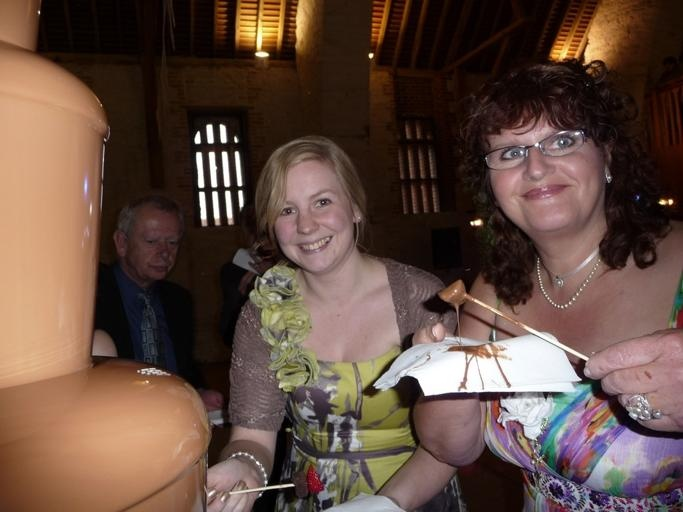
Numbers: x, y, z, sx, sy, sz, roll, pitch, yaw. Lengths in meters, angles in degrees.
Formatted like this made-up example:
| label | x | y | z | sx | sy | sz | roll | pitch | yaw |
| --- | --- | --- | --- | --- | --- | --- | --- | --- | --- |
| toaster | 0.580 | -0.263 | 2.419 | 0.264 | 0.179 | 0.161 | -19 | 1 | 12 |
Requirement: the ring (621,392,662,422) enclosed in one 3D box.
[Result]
| label | x | y | z | sx | sy | sz | roll | pitch | yaw |
| --- | --- | --- | --- | --- | --- | --- | --- | --- | --- |
| ring | 0.605 | 0.308 | 1.085 | 0.056 | 0.063 | 0.016 | -17 | 17 | 36 |

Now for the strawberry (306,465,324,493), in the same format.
| label | x | y | z | sx | sy | sz | roll | pitch | yaw |
| --- | --- | --- | --- | --- | --- | --- | --- | --- | --- |
| strawberry | -0.095 | 0.725 | 1.734 | 0.029 | 0.083 | 0.075 | -2 | 0 | -32 |

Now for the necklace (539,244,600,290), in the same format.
| label | x | y | z | sx | sy | sz | roll | pitch | yaw |
| --- | --- | --- | --- | --- | --- | --- | --- | --- | --- |
| necklace | 0.681 | 0.038 | 1.578 | 0.106 | 0.039 | 0.100 | -36 | -11 | 30 |

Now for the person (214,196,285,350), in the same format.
| label | x | y | z | sx | sy | sz | roll | pitch | yaw |
| --- | --- | --- | --- | --- | --- | --- | --- | --- | --- |
| person | -0.502 | 0.077 | 2.996 | 0.212 | 0.795 | 0.558 | 0 | -26 | 25 |

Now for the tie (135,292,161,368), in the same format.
| label | x | y | z | sx | sy | sz | roll | pitch | yaw |
| --- | --- | --- | --- | --- | --- | --- | --- | --- | --- |
| tie | -1.061 | 0.397 | 2.964 | 0.101 | 0.353 | 0.141 | 0 | 0 | -24 |
